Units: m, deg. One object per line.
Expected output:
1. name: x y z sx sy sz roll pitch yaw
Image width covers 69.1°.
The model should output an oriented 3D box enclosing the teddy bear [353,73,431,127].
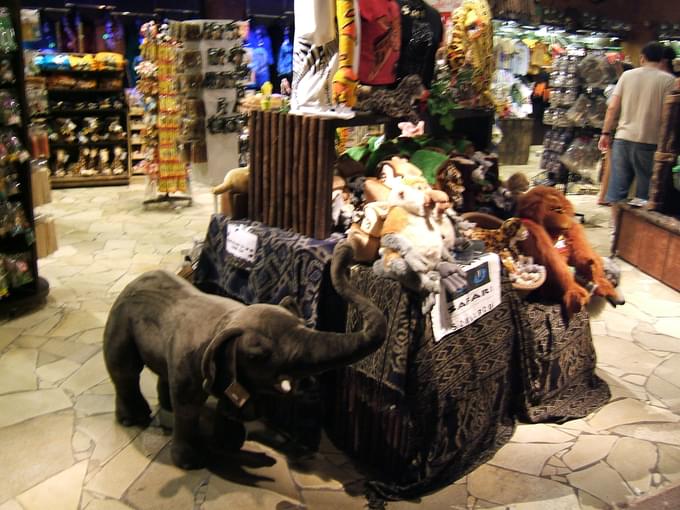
1. teddy bear: 0.291 -0.897 2.889 0.427 0.176 0.251 1 63 -7

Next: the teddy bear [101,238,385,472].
1. teddy bear: -0.444 0.369 2.740 2.007 1.139 0.743 9 21 26
